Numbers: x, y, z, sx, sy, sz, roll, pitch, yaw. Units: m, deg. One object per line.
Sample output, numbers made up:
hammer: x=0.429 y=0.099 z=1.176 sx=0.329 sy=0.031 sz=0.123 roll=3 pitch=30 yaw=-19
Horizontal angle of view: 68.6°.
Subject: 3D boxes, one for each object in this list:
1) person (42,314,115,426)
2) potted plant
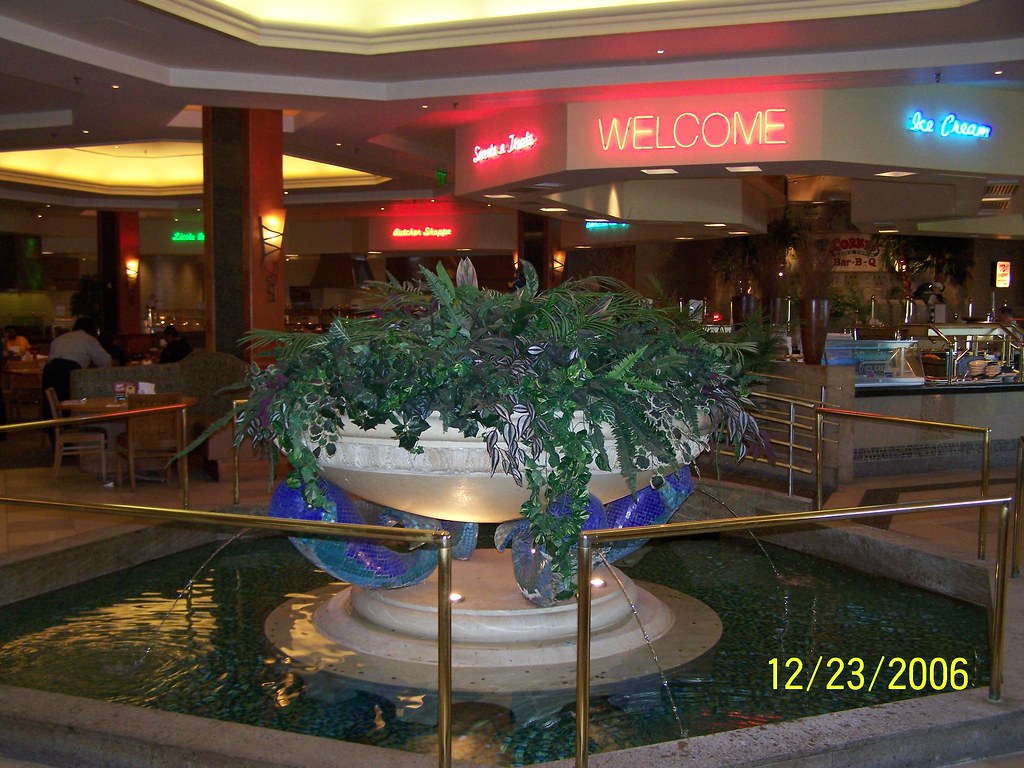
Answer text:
person: x=-5.537 y=-0.205 z=9.510 sx=0.748 sy=1.206 sz=0.757 roll=14 pitch=24 yaw=4
potted plant: x=-0.130 y=0.431 z=3.167 sx=2.063 sy=0.928 sz=1.830 roll=11 pitch=-11 yaw=-32
